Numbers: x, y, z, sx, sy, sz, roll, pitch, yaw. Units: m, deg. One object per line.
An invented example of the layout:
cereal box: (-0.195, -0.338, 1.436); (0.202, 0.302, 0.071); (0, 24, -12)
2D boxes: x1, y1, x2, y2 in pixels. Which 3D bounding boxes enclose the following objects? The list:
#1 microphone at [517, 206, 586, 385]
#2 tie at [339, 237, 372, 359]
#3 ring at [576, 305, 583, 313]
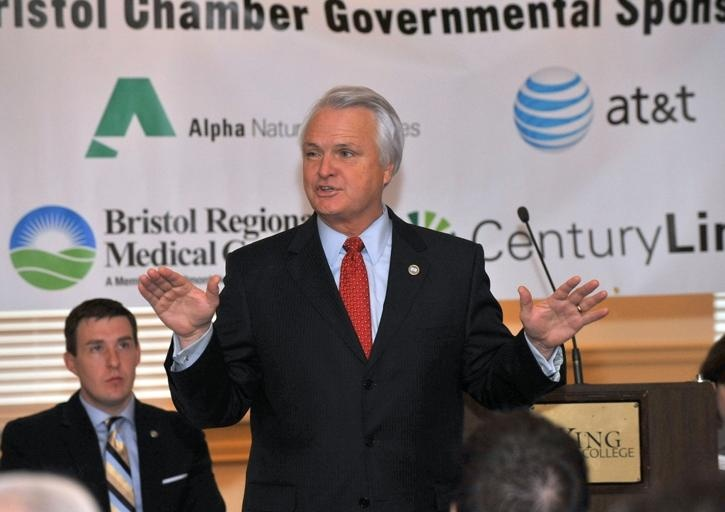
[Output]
microphone: (0.999, 0.169, 4.582); (0.102, 1.122, 0.105); (-9, -14, -17)
tie: (-0.027, 0.180, 3.894); (0.118, 0.513, 0.070); (-2, -23, -7)
ring: (0.912, 0.222, 3.648); (0.011, 0.035, 0.023); (-7, 1, -18)
